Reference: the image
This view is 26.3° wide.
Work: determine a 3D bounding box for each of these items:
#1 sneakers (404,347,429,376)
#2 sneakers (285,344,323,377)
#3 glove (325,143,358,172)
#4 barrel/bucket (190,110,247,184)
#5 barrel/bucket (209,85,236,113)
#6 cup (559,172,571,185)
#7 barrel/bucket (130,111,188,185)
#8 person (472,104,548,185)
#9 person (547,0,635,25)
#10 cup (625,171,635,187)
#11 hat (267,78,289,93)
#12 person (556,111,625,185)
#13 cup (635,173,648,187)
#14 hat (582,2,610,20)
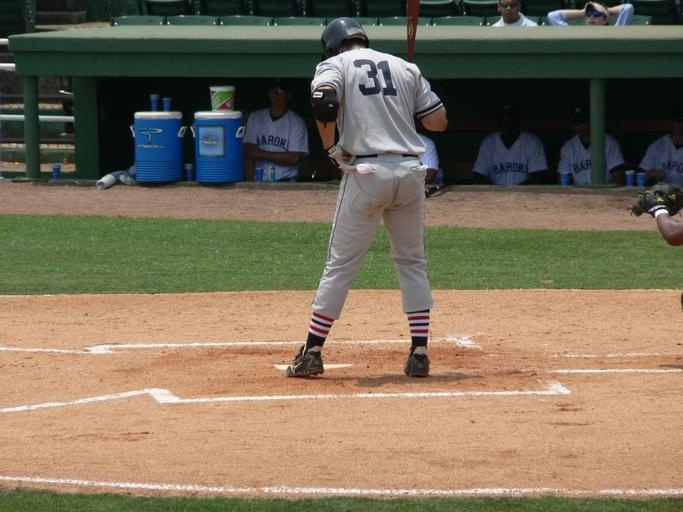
[{"bbox_3d":[0.593,0.863,11.480,0.118,0.136,0.296,1,8,-1],"label":"sneakers"},{"bbox_3d":[-0.273,0.866,11.415,0.167,0.190,0.379,-1,0,-39],"label":"sneakers"},{"bbox_3d":[-0.028,-0.724,11.319,0.089,0.249,0.176,-46,8,40],"label":"glove"},{"bbox_3d":[-1.418,-1.260,17.125,0.981,1.011,0.636,0,11,1],"label":"barrel/bucket"},{"bbox_3d":[-1.411,-1.850,17.169,0.372,0.237,0.303,0,2,-8],"label":"barrel/bucket"},{"bbox_3d":[2.645,-0.896,17.343,0.151,0.136,0.140,0,-1,0],"label":"cup"},{"bbox_3d":[-2.161,-1.263,17.240,0.598,0.852,0.536,-1,6,-8],"label":"barrel/bucket"},{"bbox_3d":[2.204,-1.356,17.931,1.153,1.236,0.925,0,33,8],"label":"person"},{"bbox_3d":[3.216,-3.148,18.946,0.602,0.256,0.786,-2,9,29],"label":"person"},{"bbox_3d":[3.328,-0.881,16.837,0.113,0.178,0.328,1,6,11],"label":"cup"},{"bbox_3d":[-0.734,-2.012,17.339,0.210,0.162,0.246,2,6,18],"label":"hat"},{"bbox_3d":[2.847,-1.279,17.138,0.868,0.911,0.502,5,8,38],"label":"person"},{"bbox_3d":[3.440,-0.864,16.818,0.170,0.160,0.154,-1,-4,-5],"label":"cup"},{"bbox_3d":[3.196,-3.077,18.289,0.282,0.191,0.319,1,6,8],"label":"hat"}]
